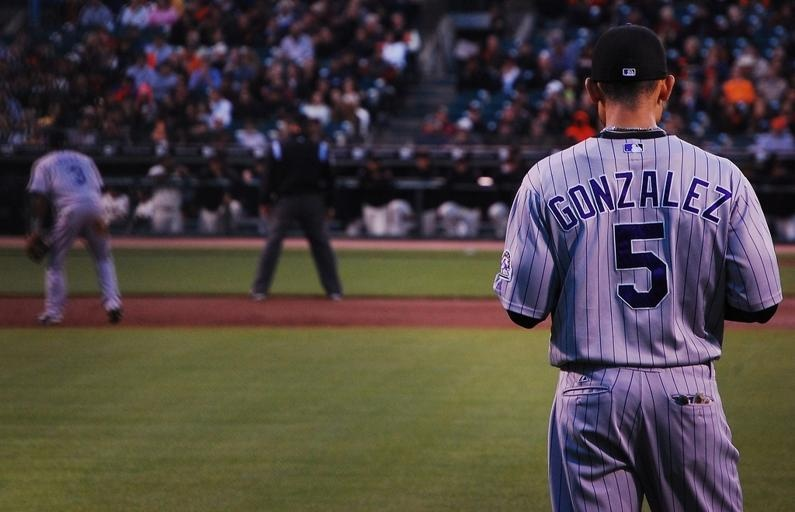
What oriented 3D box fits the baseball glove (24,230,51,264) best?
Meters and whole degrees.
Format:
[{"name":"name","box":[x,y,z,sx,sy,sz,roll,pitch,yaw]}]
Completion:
[{"name":"baseball glove","box":[-3.590,-0.083,15.323,0.242,0.270,0.130,2,3,2]}]

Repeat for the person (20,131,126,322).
[{"name":"person","box":[-3.249,-0.284,15.491,0.901,1.951,0.516,0,5,-12]}]
